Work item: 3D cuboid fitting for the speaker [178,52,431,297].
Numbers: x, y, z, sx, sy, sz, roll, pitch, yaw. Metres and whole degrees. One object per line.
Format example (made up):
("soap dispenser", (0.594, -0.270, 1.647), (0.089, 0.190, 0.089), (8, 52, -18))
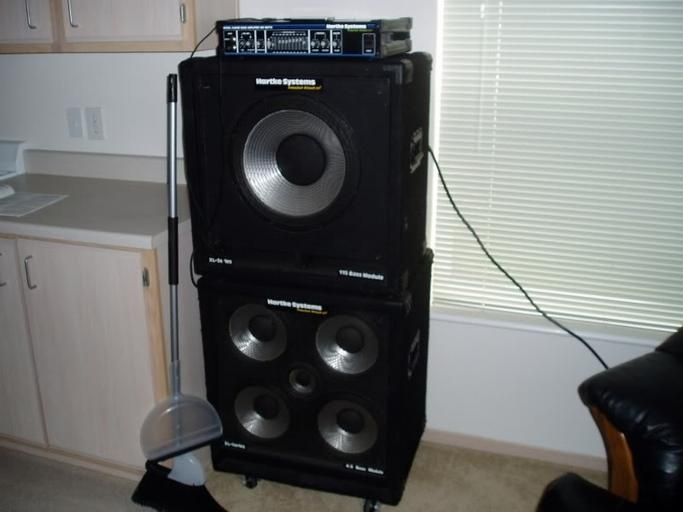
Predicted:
("speaker", (-0.112, -0.342, 2.157), (0.700, 0.768, 0.456), (3, 20, 11))

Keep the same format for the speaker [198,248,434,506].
("speaker", (-0.074, 0.401, 2.605), (1.030, 1.181, 0.833), (5, 19, 16))
